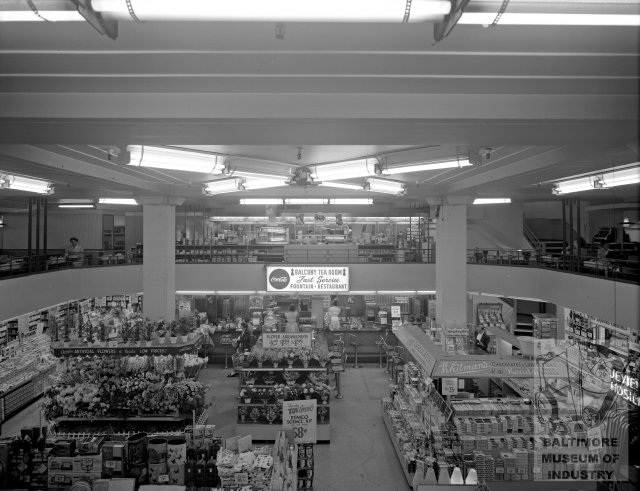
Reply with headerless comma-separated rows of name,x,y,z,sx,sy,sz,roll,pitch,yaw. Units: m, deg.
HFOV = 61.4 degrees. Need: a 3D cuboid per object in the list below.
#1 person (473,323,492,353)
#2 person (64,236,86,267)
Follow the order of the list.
person,4.306,2.481,14.372,0.322,1.029,0.410,14,-18,-23
person,-7.111,0.186,15.714,0.515,0.817,1.067,-1,-1,-24
